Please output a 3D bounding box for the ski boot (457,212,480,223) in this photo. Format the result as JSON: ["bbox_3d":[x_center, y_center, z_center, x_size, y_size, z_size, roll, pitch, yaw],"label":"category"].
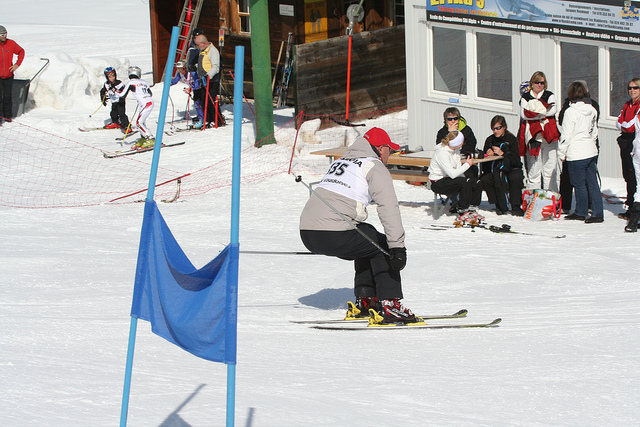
[{"bbox_3d":[2.133,0.063,14.308,0.394,0.160,0.129,-1,13,14],"label":"ski boot"}]

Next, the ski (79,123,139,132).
[{"bbox_3d":[-5.375,-1.884,20.935,1.524,0.156,0.180,-4,27,-11],"label":"ski"}]

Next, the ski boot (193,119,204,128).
[{"bbox_3d":[-3.250,-1.964,20.795,0.221,0.188,0.130,0,3,-35],"label":"ski boot"}]

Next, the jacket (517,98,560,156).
[{"bbox_3d":[3.347,-1.316,14.519,0.687,0.869,0.409,3,3,15],"label":"jacket"}]

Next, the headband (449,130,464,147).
[{"bbox_3d":[1.989,-1.117,14.429,0.197,0.121,0.233,24,55,28],"label":"headband"}]

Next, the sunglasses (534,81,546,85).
[{"bbox_3d":[3.333,-1.968,14.357,0.174,0.048,0.054,2,3,-11],"label":"sunglasses"}]

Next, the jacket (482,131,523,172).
[{"bbox_3d":[2.751,-0.964,14.824,0.684,0.620,0.456,9,12,28],"label":"jacket"}]

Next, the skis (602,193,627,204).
[{"bbox_3d":[4.740,-0.222,15.055,0.278,0.134,0.046,13,45,14],"label":"skis"}]

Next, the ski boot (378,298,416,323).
[{"bbox_3d":[0.728,1.063,10.464,0.454,0.287,0.123,2,3,3],"label":"ski boot"}]

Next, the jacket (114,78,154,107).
[{"bbox_3d":[-4.586,-2.548,19.830,1.096,0.310,0.722,13,-4,13],"label":"jacket"}]

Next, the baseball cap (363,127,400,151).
[{"bbox_3d":[0.529,-0.808,10.317,0.382,0.186,0.229,4,9,-15],"label":"baseball cap"}]

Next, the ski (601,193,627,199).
[{"bbox_3d":[4.780,-0.278,15.068,0.454,0.073,0.117,5,46,34],"label":"ski"}]

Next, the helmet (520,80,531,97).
[{"bbox_3d":[3.197,-1.934,14.836,0.175,0.286,0.648,3,3,11],"label":"helmet"}]

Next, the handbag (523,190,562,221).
[{"bbox_3d":[3.418,-0.117,14.389,0.529,0.510,0.382,-4,-2,13],"label":"handbag"}]

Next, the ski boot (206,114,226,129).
[{"bbox_3d":[-2.891,-2.020,21.169,0.569,0.210,0.180,-15,35,-7],"label":"ski boot"}]

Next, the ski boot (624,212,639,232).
[{"bbox_3d":[4.587,0.123,13.612,0.194,0.282,0.071,3,3,17],"label":"ski boot"}]

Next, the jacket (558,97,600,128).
[{"bbox_3d":[3.830,-1.466,14.231,0.423,0.509,0.264,4,3,13],"label":"jacket"}]

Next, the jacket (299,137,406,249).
[{"bbox_3d":[0.212,-0.229,10.186,1.205,1.175,0.388,2,3,4],"label":"jacket"}]

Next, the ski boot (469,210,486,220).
[{"bbox_3d":[2.309,0.039,14.369,0.264,0.115,0.090,17,34,14],"label":"ski boot"}]

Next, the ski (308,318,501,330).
[{"bbox_3d":[0.822,1.210,10.496,2.250,0.180,0.136,2,3,-2],"label":"ski"}]

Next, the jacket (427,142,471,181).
[{"bbox_3d":[1.875,-0.782,14.523,0.651,0.582,0.423,2,3,3],"label":"jacket"}]

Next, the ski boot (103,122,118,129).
[{"bbox_3d":[-5.418,-1.960,21.262,0.393,0.152,0.128,-4,44,-10],"label":"ski boot"}]

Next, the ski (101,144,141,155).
[{"bbox_3d":[-4.743,-1.296,19.436,1.065,0.111,0.127,-6,40,-1],"label":"ski"}]

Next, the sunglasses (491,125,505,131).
[{"bbox_3d":[2.720,-1.327,14.752,0.209,0.090,0.111,3,3,15],"label":"sunglasses"}]

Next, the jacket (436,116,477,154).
[{"bbox_3d":[2.092,-1.213,15.218,0.698,0.486,0.223,-11,-3,9],"label":"jacket"}]

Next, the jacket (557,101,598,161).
[{"bbox_3d":[3.886,-1.243,14.083,0.822,0.899,0.482,-11,11,-43],"label":"jacket"}]

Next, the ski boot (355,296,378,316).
[{"bbox_3d":[0.396,1.046,10.707,0.392,0.230,0.145,5,4,42],"label":"ski boot"}]

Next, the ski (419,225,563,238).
[{"bbox_3d":[2.543,0.273,14.002,0.677,0.045,0.071,10,8,17],"label":"ski"}]
